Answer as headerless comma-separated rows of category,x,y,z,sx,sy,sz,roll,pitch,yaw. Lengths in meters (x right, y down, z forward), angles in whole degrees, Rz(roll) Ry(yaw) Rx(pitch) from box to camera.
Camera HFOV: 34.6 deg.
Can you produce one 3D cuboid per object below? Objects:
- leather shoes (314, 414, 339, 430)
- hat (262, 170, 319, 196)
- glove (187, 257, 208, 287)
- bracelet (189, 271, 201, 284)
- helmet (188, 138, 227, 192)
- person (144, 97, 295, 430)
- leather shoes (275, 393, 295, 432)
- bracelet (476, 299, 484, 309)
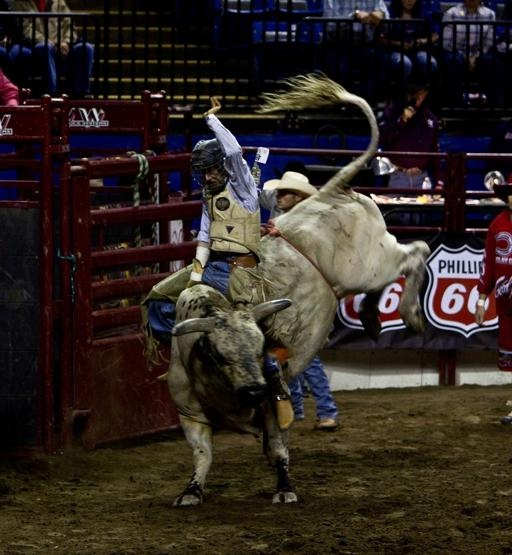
leather shoes,0.568,1.178,6.624,0.128,0.084,0.218,0,-8,0
hat,0.316,-0.685,5.996,0.312,0.100,0.319,4,-3,26
glove,-0.338,-0.030,4.634,0.087,0.094,0.148,15,-9,-6
bracelet,-0.345,-0.007,4.629,0.072,0.041,0.062,1,-5,5
helmet,-0.272,-0.631,4.521,0.181,0.306,0.336,-4,6,-29
person,-0.209,-0.126,4.555,0.539,1.847,1.185,-4,6,-26
leather shoes,0.146,0.707,4.282,0.117,0.167,0.066,-1,-21,8
bracelet,1.889,0.213,6.867,0.080,0.064,0.073,4,3,1
